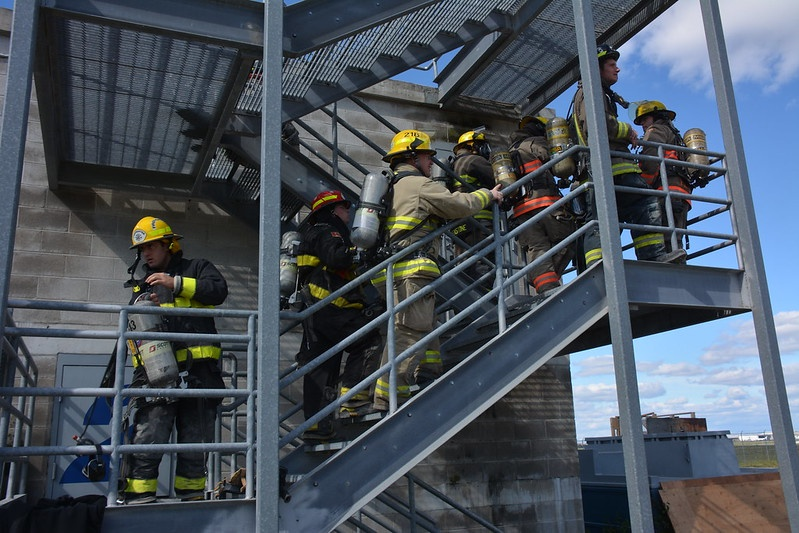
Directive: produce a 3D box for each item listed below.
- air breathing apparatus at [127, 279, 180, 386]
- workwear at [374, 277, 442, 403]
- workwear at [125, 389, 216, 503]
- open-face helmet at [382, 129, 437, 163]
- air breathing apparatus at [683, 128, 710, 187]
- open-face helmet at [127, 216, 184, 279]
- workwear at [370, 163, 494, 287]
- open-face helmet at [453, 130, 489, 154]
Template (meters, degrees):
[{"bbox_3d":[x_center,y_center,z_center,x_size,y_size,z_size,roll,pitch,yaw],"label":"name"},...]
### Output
[{"bbox_3d":[-2.431,0.708,8.512,0.508,1.010,0.390,2,-17,-12],"label":"air breathing apparatus"},{"bbox_3d":[0.096,0.776,8.942,0.522,1.188,0.839,15,-33,-15],"label":"workwear"},{"bbox_3d":[-2.236,1.792,8.479,0.873,1.015,0.410,4,-17,-21],"label":"workwear"},{"bbox_3d":[0.122,-1.390,9.664,0.584,0.263,0.408,-3,2,9],"label":"open-face helmet"},{"bbox_3d":[3.687,-1.434,10.691,0.252,0.558,0.241,-6,2,-30],"label":"air breathing apparatus"},{"bbox_3d":[-2.616,-0.243,9.135,0.533,0.553,0.591,-20,-9,22],"label":"open-face helmet"},{"bbox_3d":[0.349,-0.469,9.686,1.374,1.235,1.127,-4,-2,-27],"label":"workwear"},{"bbox_3d":[0.898,-1.543,10.579,0.391,0.172,0.271,-9,5,-27],"label":"open-face helmet"}]
